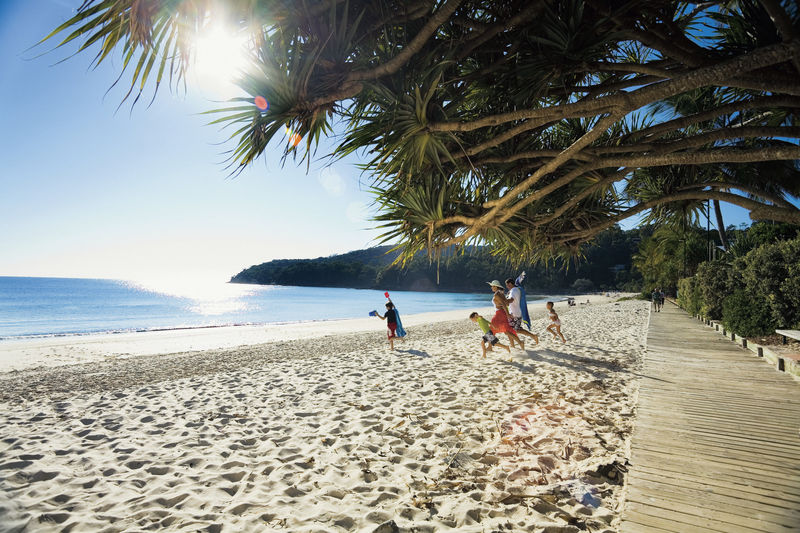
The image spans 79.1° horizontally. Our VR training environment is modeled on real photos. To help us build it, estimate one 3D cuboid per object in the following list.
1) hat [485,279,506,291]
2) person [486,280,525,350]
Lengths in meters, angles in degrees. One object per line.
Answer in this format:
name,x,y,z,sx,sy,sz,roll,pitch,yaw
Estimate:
hat,1.906,0.348,9.442,0.355,0.109,0.344,31,-8,-35
person,2.140,0.980,10.049,1.003,1.381,0.593,6,15,44
